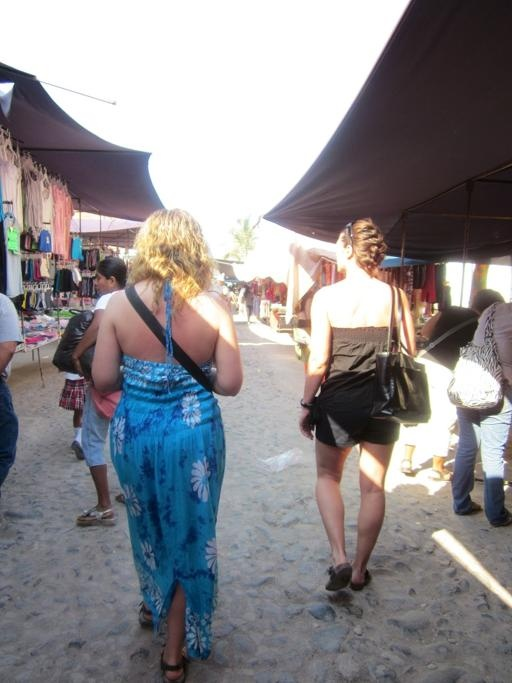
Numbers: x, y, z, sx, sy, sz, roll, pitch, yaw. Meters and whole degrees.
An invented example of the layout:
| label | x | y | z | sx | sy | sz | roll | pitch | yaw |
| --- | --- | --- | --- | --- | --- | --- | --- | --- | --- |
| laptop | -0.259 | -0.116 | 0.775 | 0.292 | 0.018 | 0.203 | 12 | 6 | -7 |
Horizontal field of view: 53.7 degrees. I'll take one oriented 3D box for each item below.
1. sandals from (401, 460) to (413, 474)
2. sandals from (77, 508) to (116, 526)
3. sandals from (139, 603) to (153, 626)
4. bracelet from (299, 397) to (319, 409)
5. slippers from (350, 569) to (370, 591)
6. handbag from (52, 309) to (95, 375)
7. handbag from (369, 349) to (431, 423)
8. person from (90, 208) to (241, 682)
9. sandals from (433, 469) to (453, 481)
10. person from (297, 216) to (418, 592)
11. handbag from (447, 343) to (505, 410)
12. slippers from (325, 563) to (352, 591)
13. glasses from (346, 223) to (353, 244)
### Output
| label | x | y | z | sx | sy | sz | roll | pitch | yaw |
| --- | --- | --- | --- | --- | --- | --- | --- | --- | --- |
| sandals | 1.285 | 1.079 | 4.341 | 0.113 | 0.123 | 0.114 | 0 | 3 | 38 |
| sandals | -1.021 | 1.126 | 3.229 | 0.204 | 0.084 | 0.107 | 5 | -8 | -7 |
| sandals | -0.483 | 1.197 | 2.222 | 0.042 | 0.046 | 0.108 | 5 | 12 | -16 |
| bracelet | 0.271 | 0.311 | 2.550 | 0.059 | 0.029 | 0.075 | 4 | -26 | -8 |
| slippers | 0.530 | 1.200 | 2.570 | 0.052 | 0.065 | 0.157 | 5 | 6 | 22 |
| handbag | -1.395 | 0.044 | 3.902 | 0.256 | 0.484 | 0.379 | 18 | -16 | -37 |
| handbag | 0.706 | 0.205 | 2.338 | 0.311 | 0.296 | 0.152 | 2 | -1 | -26 |
| person | -0.334 | 0.381 | 1.906 | 0.540 | 1.742 | 0.245 | 0 | 4 | -17 |
| sandals | 1.563 | 1.104 | 4.216 | 0.070 | 0.078 | 0.197 | 3 | 2 | 40 |
| person | 0.472 | 0.311 | 2.475 | 0.537 | 1.849 | 0.534 | 2 | 4 | 19 |
| handbag | 1.401 | 0.226 | 3.221 | 0.316 | 0.402 | 0.155 | 4 | 4 | 37 |
| slippers | 0.361 | 1.079 | 2.326 | 0.084 | 0.181 | 0.085 | 8 | 43 | -15 |
| glasses | 0.474 | -0.526 | 2.555 | 0.029 | 0.108 | 0.025 | -2 | -16 | -7 |
